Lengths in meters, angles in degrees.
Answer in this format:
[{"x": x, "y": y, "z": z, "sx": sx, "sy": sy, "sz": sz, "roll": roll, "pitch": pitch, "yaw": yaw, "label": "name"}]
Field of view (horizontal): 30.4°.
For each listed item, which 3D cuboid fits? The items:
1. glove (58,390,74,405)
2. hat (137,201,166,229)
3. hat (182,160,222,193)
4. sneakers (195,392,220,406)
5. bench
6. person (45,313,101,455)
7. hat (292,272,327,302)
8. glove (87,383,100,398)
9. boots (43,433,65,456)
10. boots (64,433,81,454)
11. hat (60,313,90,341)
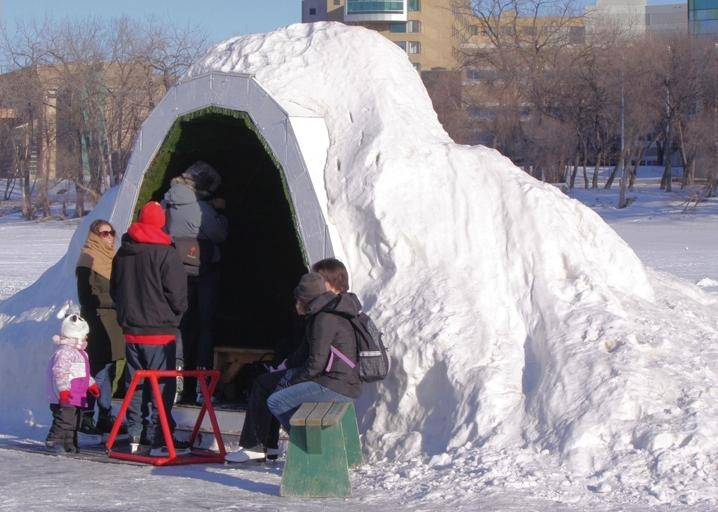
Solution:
[{"x": -5.418, "y": 2.635, "z": 24.673, "sx": 0.177, "sy": 0.234, "sz": 0.235, "roll": 7, "pitch": 9, "yaw": 29, "label": "glove"}, {"x": -3.790, "y": -0.803, "z": 24.756, "sx": 0.383, "sy": 0.358, "sz": 0.540, "roll": 8, "pitch": 9, "yaw": 11, "label": "hat"}, {"x": -3.033, "y": -1.576, "z": 26.012, "sx": 0.690, "sy": 0.478, "sz": 0.559, "roll": 40, "pitch": -4, "yaw": 8, "label": "hat"}, {"x": -2.927, "y": 2.786, "z": 25.750, "sx": 0.386, "sy": 0.163, "sz": 0.245, "roll": 7, "pitch": -8, "yaw": -32, "label": "sneakers"}, {"x": -0.680, "y": 3.484, "z": 24.165, "sx": 1.300, "sy": 1.407, "sz": 2.261, "roll": -1, "pitch": 1, "yaw": 5, "label": "bench"}, {"x": -5.420, "y": 2.392, "z": 24.843, "sx": 0.746, "sy": 2.226, "sz": 0.392, "roll": 2, "pitch": -1, "yaw": -14, "label": "person"}, {"x": -0.890, "y": 0.512, "z": 24.049, "sx": 0.576, "sy": 0.348, "sz": 0.413, "roll": -22, "pitch": 9, "yaw": -20, "label": "hat"}, {"x": -5.051, "y": 2.553, "z": 25.323, "sx": 0.184, "sy": 0.244, "sz": 0.212, "roll": -32, "pitch": -21, "yaw": 9, "label": "glove"}, {"x": -5.688, "y": 3.559, "z": 24.846, "sx": 0.194, "sy": 0.264, "sz": 0.564, "roll": 3, "pitch": -2, "yaw": -45, "label": "boots"}, {"x": -5.373, "y": 3.533, "z": 24.935, "sx": 0.277, "sy": 0.501, "sz": 0.352, "roll": 8, "pitch": -16, "yaw": -28, "label": "boots"}, {"x": -5.337, "y": 1.305, "z": 24.952, "sx": 0.465, "sy": 0.477, "sz": 0.463, "roll": -3, "pitch": 5, "yaw": -9, "label": "hat"}]
